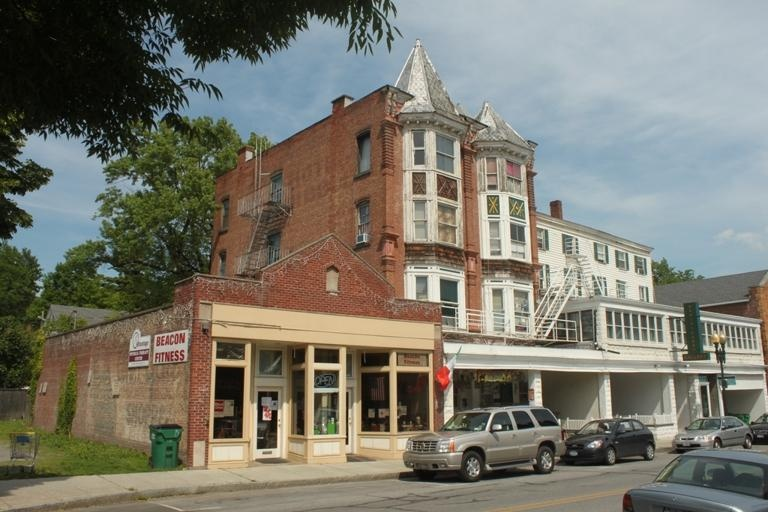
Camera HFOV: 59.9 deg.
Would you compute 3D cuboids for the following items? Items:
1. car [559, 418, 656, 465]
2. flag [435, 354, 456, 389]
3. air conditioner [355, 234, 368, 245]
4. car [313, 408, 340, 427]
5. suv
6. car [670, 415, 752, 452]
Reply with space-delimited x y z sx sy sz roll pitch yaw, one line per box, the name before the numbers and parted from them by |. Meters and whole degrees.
car | 9.633 7.900 28.381 3.770 1.407 2.139 15 -24 -37
flag | 2.834 5.244 30.260 1.064 1.558 0.515 17 -25 -38
air conditioner | -1.143 -0.857 34.814 0.233 0.576 0.846 19 -27 -41
car | -2.316 6.657 27.111 0.858 0.816 1.534 1 -11 -3
suv | 3.682 6.856 24.465 4.959 1.963 2.790 11 -20 -32
car | 15.565 8.360 31.614 3.970 1.645 1.656 13 -23 -32
